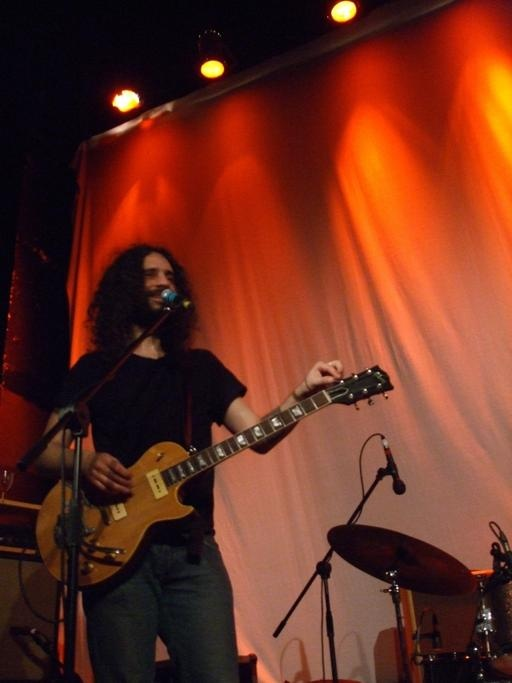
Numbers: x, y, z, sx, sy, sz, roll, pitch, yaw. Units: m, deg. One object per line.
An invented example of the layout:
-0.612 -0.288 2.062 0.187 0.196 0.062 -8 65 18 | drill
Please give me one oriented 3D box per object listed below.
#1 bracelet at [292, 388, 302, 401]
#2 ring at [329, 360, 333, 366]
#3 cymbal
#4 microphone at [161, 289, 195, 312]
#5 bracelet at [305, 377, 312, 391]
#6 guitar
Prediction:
0.144 0.191 2.092 0.034 0.033 0.008 1 1 42 | bracelet
0.309 0.089 2.440 0.011 0.016 0.042 28 -1 1 | ring
0.643 0.949 2.574 0.481 0.120 0.477 38 -26 -29 | cymbal
-0.292 -0.145 2.185 0.130 0.053 0.063 14 -36 45 | microphone
0.180 0.147 2.026 0.009 0.026 0.036 -4 -48 -13 | bracelet
-0.087 0.592 2.463 1.448 0.496 0.251 -23 -36 -9 | guitar
